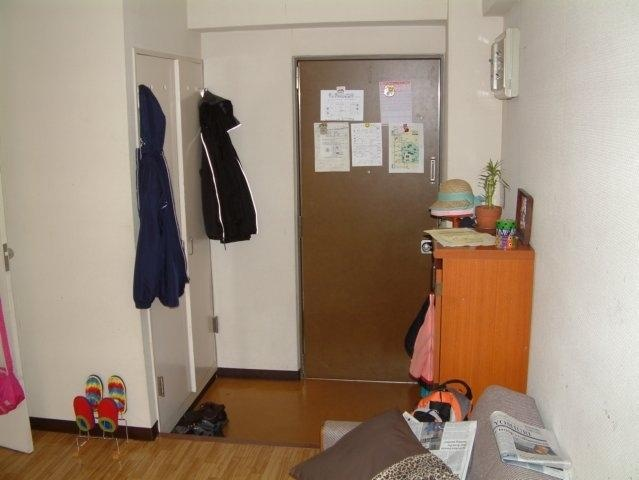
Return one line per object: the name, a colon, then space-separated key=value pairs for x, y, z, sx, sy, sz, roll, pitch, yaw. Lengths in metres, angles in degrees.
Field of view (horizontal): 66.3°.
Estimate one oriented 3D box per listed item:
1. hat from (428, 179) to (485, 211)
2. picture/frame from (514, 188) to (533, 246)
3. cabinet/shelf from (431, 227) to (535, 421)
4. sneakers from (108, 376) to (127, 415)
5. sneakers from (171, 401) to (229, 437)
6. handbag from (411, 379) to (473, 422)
hat: x=0.876 y=-0.274 z=3.220 sx=0.241 sy=0.135 sz=0.249 roll=-8 pitch=11 yaw=-9
picture/frame: x=1.131 y=-0.087 z=2.742 sx=0.027 sy=0.266 sz=0.273 roll=4 pitch=12 yaw=40
cabinet/shelf: x=1.046 y=0.232 z=3.128 sx=0.513 sy=0.977 sz=0.963 roll=-2 pitch=29 yaw=16
sneakers: x=-1.339 y=1.021 z=3.243 sx=0.125 sy=0.256 sz=0.042 roll=0 pitch=6 yaw=19
sneakers: x=-0.846 y=1.307 z=3.515 sx=0.238 sy=0.102 sz=0.192 roll=6 pitch=23 yaw=12
handbag: x=0.650 y=0.841 z=2.463 sx=0.200 sy=0.115 sz=0.279 roll=3 pitch=31 yaw=40
